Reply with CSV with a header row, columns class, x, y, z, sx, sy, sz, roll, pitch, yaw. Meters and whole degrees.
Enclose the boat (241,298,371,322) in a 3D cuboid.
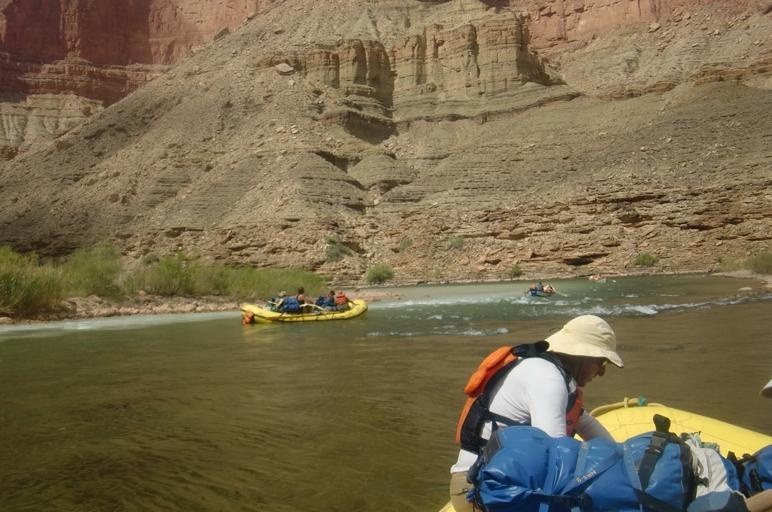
class,x,y,z,sx,sy,sz,roll,pitch,yaw
boat,-5.140,3.455,51.658,7.424,1.411,1.347,0,-1,-7
